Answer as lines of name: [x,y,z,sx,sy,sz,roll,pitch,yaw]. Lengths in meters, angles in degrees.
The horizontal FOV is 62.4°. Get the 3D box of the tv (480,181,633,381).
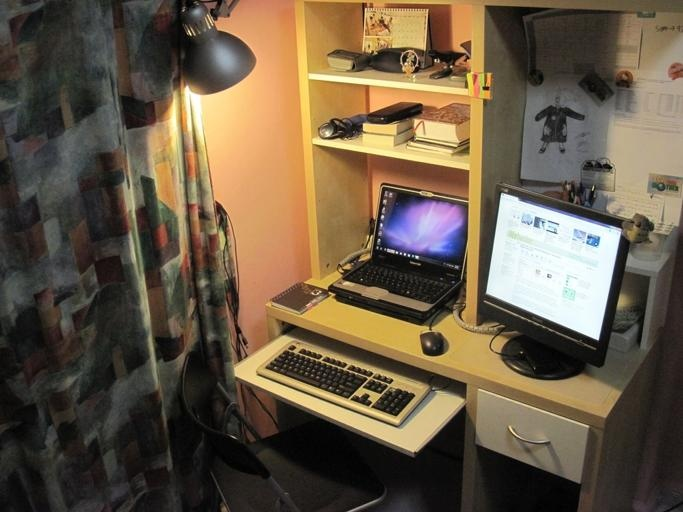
tv: [0.699,0.096,1.855,0.281,0.515,0.431,-27,40,-36]

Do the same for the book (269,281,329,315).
book: [-0.175,0.168,2.303,0.134,0.041,0.140,19,38,32]

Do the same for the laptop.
laptop: [0.262,0.078,2.397,0.560,0.487,0.526,19,38,36]

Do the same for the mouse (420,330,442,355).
mouse: [0.328,0.300,1.990,0.099,0.064,0.094,-3,19,-7]

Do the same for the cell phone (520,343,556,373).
cell phone: [0.653,0.343,1.872,0.070,0.026,0.105,-11,33,-6]

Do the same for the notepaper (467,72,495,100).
notepaper: [0.448,-0.552,1.819,0.038,0.069,0.070,17,32,39]
